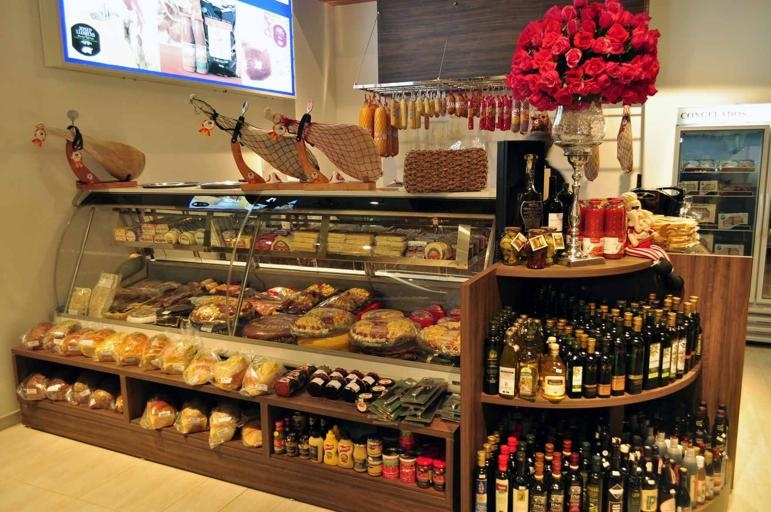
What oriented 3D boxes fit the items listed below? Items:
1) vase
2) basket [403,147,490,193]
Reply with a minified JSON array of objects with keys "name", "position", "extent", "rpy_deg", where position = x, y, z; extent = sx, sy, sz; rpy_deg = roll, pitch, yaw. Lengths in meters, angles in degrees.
[{"name":"vase","position":[1.181,-0.436,3.221],"extent":[0.295,0.944,0.250],"rpy_deg":[-2,12,2]},{"name":"basket","position":[0.414,-0.535,3.671],"extent":[0.517,0.215,0.341],"rpy_deg":[0,11,5]}]
